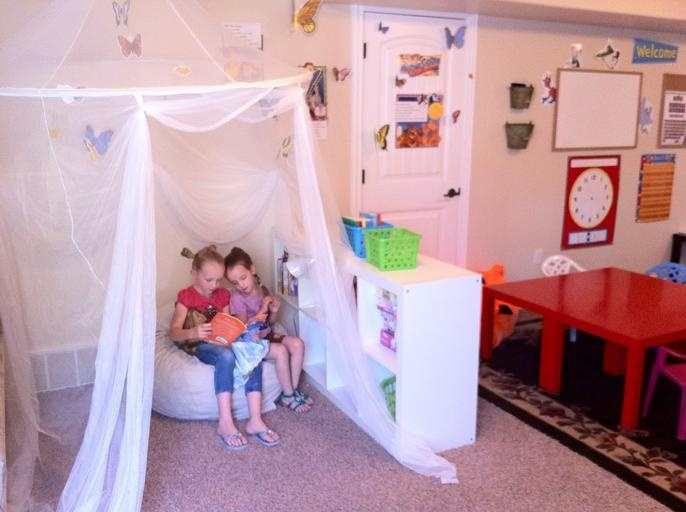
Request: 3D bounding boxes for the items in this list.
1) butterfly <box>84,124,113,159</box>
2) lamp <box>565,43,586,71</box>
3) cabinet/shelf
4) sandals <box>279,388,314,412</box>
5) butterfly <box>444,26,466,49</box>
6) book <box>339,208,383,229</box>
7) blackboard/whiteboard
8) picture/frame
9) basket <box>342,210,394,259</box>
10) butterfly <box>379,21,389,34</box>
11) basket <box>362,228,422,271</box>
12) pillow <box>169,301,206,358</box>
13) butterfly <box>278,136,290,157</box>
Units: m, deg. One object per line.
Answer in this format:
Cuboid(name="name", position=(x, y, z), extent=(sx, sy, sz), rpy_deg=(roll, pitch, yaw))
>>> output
Cuboid(name="butterfly", position=(-0.989, -0.471, 2.119), extent=(0.106, 0.133, 0.051), rpy_deg=(6, 17, 11))
Cuboid(name="lamp", position=(1.956, -1.683, 4.404), extent=(0.161, 0.189, 0.050), rpy_deg=(-11, 23, -29))
Cuboid(name="cabinet/shelf", position=(0.158, 0.494, 2.700), extent=(0.282, 0.590, 0.949), rpy_deg=(-10, 21, -23))
Cuboid(name="sandals", position=(-0.284, 0.830, 2.997), extent=(0.144, 0.057, 0.107), rpy_deg=(8, 30, 16))
Cuboid(name="butterfly", position=(0.851, -1.662, 3.988), extent=(0.187, 0.162, 0.040), rpy_deg=(-10, 22, -25))
Cuboid(name="book", position=(0.093, -0.224, 3.138), extent=(0.165, 0.078, 0.224), rpy_deg=(-3, 20, -16))
Cuboid(name="blackboard/whiteboard", position=(2.238, -1.277, 4.585), extent=(0.979, 0.674, 0.128), rpy_deg=(-8, 22, -21))
Cuboid(name="picture/frame", position=(2.180, -1.292, 4.559), extent=(0.718, 0.576, 0.026), rpy_deg=(-7, 16, -22))
Cuboid(name="basket", position=(0.109, -0.134, 2.913), extent=(0.285, 0.214, 0.201), rpy_deg=(-9, 20, -26))
Cuboid(name="butterfly", position=(0.283, -1.628, 3.759), extent=(0.081, 0.078, 0.048), rpy_deg=(-18, 32, -29))
Cuboid(name="basket", position=(0.253, -0.035, 2.655), extent=(0.188, 0.151, 0.277), rpy_deg=(-4, 12, -14))
Cuboid(name="pillow", position=(-0.882, 0.395, 2.942), extent=(0.114, 0.316, 0.240), rpy_deg=(3, -2, 17))
Cuboid(name="butterfly", position=(-0.299, -0.572, 2.732), extent=(0.061, 0.104, 0.103), rpy_deg=(11, 22, 21))
